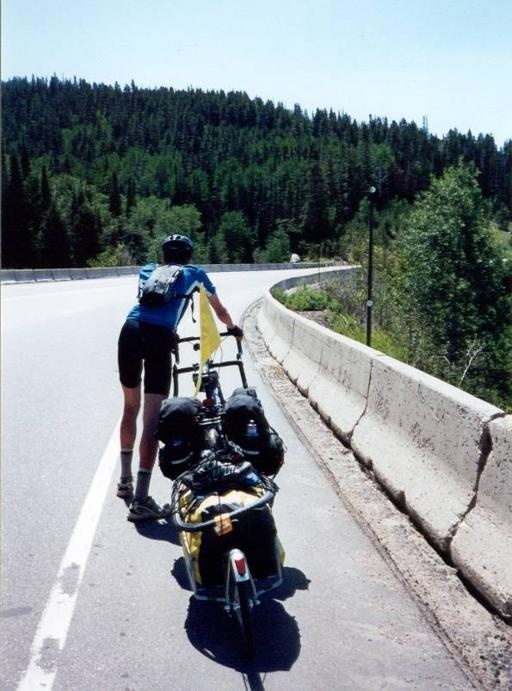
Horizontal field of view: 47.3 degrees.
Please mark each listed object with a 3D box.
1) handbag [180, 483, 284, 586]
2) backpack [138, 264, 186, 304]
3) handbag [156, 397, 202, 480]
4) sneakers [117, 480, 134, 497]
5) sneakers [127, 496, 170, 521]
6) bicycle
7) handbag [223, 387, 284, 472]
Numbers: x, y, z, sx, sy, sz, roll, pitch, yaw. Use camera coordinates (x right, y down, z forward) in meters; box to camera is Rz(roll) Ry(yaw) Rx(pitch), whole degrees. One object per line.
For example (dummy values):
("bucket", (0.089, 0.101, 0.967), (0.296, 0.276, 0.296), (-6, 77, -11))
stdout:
("handbag", (-0.116, 0.842, 2.706), (0.235, 0.324, 0.520), (-9, 2, -4))
("backpack", (-0.620, -0.407, 3.939), (0.178, 0.175, 0.299), (5, 46, 15))
("handbag", (-0.418, 0.496, 3.295), (0.264, 0.432, 0.408), (1, 23, -7))
("sneakers", (-0.974, 1.081, 4.418), (0.125, 0.144, 0.081), (14, -7, -19))
("sneakers", (-0.714, 1.090, 3.998), (0.126, 0.171, 0.341), (6, 5, 41))
("bicycle", (-0.167, 0.697, 2.907), (0.358, 0.813, 1.451), (-7, 10, -3))
("handbag", (-0.010, 0.511, 3.329), (0.157, 0.434, 0.328), (-30, 0, -45))
